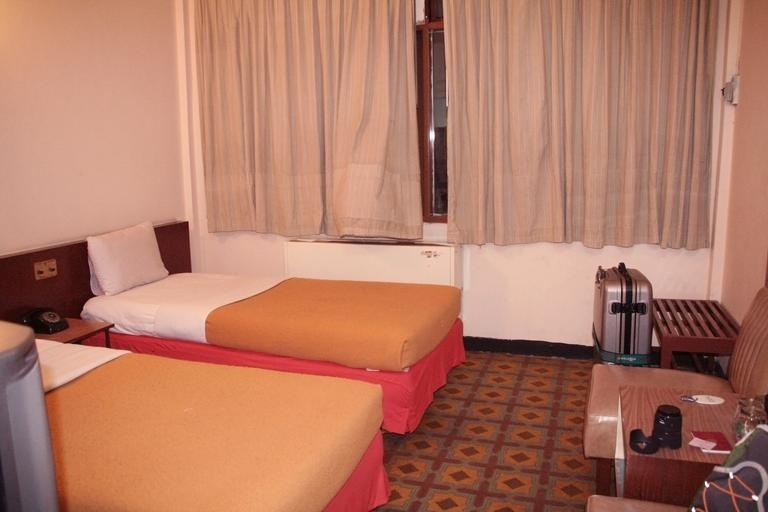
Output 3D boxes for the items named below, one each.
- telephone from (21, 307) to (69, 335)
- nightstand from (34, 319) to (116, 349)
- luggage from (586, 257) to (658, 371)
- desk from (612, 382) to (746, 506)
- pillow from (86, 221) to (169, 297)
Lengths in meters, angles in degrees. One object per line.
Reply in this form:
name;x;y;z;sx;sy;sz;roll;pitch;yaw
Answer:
telephone;-2.397;0.456;3.776;0.265;0.150;0.331;6;10;-1
nightstand;-2.349;0.566;4.069;0.293;0.275;0.291;4;12;11
luggage;1.766;0.436;3.957;0.363;0.633;0.666;1;5;18
desk;1.447;0.817;2.636;0.460;0.317;0.648;0;8;15
pillow;-2.319;0.014;4.863;0.292;0.516;0.766;4;14;18
